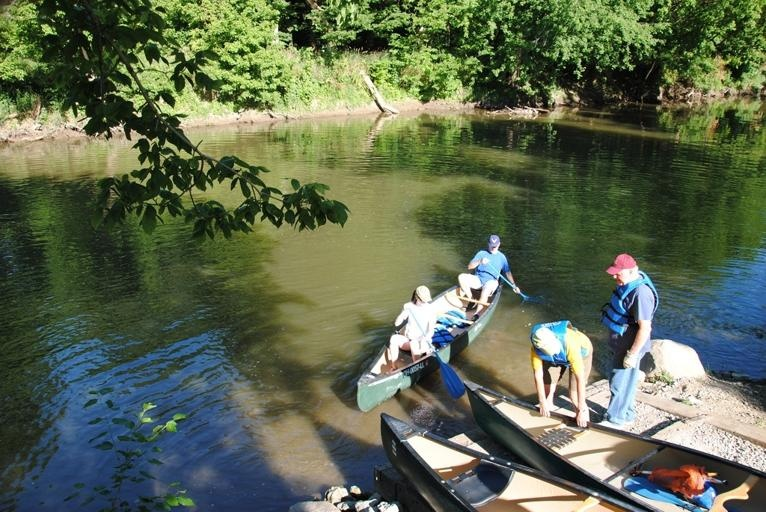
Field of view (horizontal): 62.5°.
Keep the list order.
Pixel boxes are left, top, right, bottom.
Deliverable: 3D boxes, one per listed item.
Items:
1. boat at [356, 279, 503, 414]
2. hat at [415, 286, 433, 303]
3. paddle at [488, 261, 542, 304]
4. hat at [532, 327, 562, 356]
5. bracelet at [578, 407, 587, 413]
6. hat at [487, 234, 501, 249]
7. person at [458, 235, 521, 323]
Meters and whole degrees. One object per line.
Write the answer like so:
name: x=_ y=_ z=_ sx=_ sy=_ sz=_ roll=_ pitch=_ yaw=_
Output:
boat: x=0.987 y=1.752 z=12.398 sx=1.116 sy=0.666 sz=4.303 roll=18 pitch=38 yaw=38
hat: x=0.727 y=0.721 z=11.834 sx=0.269 sy=0.322 sz=0.369 roll=-2 pitch=15 yaw=2
paddle: x=3.065 y=0.649 z=14.327 sx=1.109 sy=0.191 sz=0.563 roll=36 pitch=-7 yaw=-8
hat: x=2.544 y=1.315 z=9.769 sx=0.328 sy=0.243 sz=0.316 roll=39 pitch=6 yaw=-24
bracelet: x=3.188 y=2.463 z=10.121 sx=0.099 sy=0.030 sz=0.132 roll=4 pitch=11 yaw=15
hat: x=2.404 y=-0.310 z=13.751 sx=0.290 sy=0.201 sz=0.425 roll=4 pitch=20 yaw=15
person: x=2.226 y=0.393 z=13.724 sx=1.358 sy=0.964 sz=1.808 roll=10 pitch=30 yaw=15
